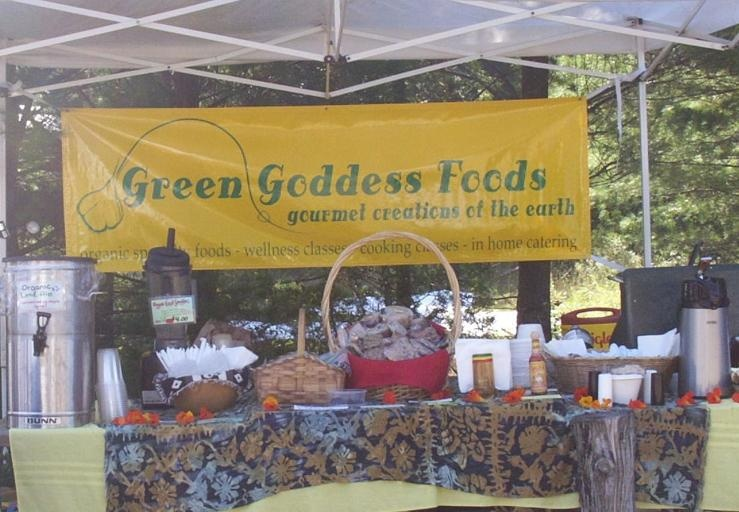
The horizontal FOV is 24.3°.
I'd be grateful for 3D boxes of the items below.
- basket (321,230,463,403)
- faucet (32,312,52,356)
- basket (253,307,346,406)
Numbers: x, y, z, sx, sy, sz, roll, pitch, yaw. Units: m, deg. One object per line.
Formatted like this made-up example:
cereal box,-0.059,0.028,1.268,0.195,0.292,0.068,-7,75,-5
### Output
basket,0.146,0.508,14.869,1.388,1.540,0.930,0,-12,-3
faucet,-2.523,0.595,13.302,0.146,0.338,0.038,-3,-3,-10
basket,-0.545,0.880,13.736,0.612,0.529,0.564,1,-9,-1
